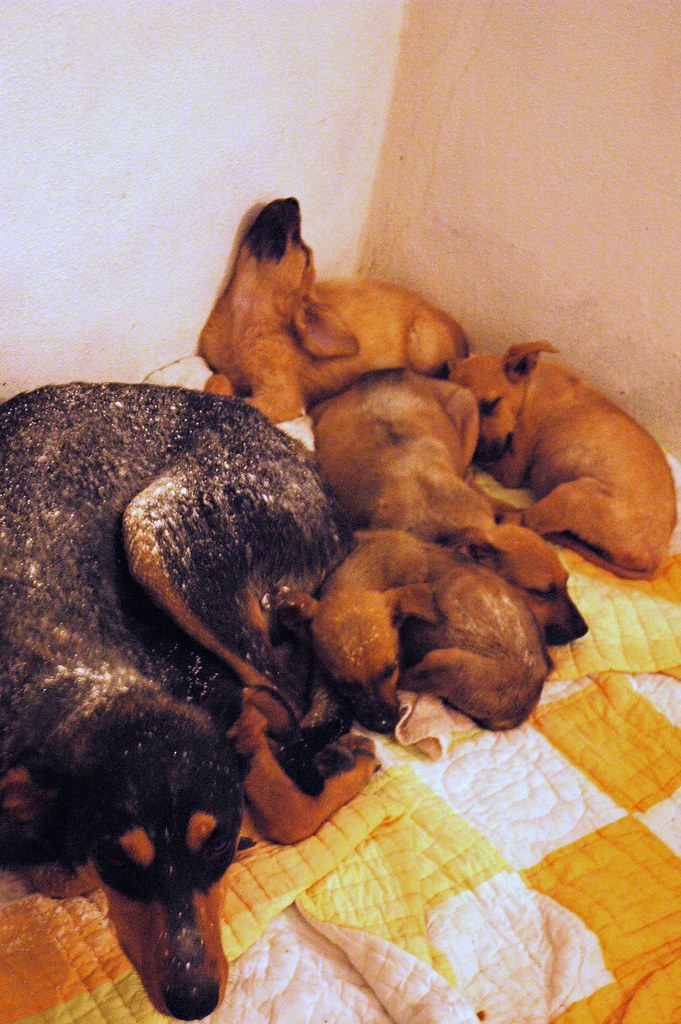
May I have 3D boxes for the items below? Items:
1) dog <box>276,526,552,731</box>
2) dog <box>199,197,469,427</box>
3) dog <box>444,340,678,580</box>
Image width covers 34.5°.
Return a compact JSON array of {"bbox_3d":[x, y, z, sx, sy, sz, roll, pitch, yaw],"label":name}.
[{"bbox_3d":[0.185,0.194,2.246,0.565,0.234,0.666,5,28,22],"label":"dog"},{"bbox_3d":[-0.012,-0.584,3.130,0.747,0.494,0.475,-8,51,-31],"label":"dog"},{"bbox_3d":[0.585,-0.135,2.840,0.393,0.336,0.718,7,43,-58],"label":"dog"}]
